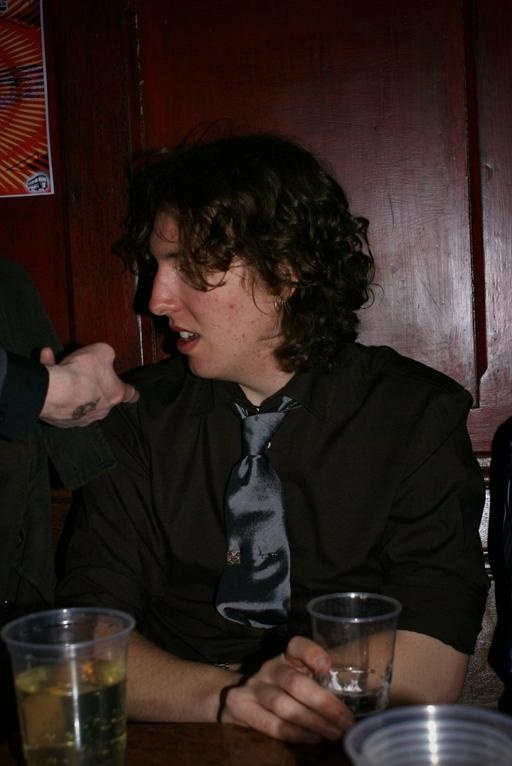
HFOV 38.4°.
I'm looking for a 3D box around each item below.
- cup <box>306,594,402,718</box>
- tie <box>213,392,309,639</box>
[{"bbox_3d":[0.127,0.327,0.936,0.144,0.139,0.141,-1,-1,0],"label":"cup"},{"bbox_3d":[0.004,0.255,1.432,0.137,0.432,0.212,-1,11,11],"label":"tie"}]
